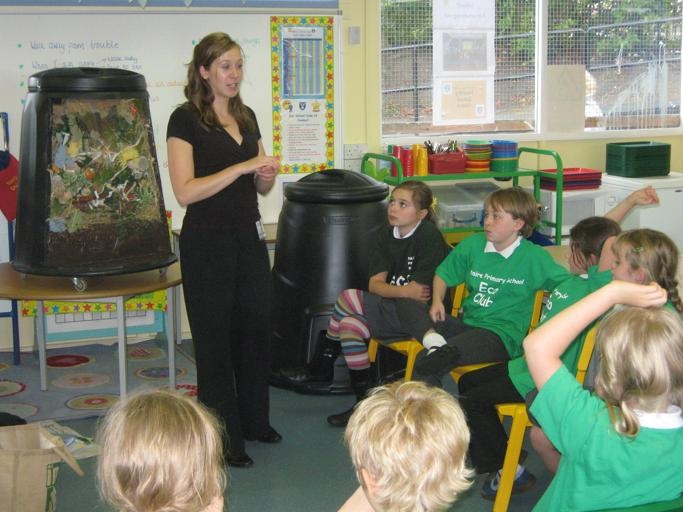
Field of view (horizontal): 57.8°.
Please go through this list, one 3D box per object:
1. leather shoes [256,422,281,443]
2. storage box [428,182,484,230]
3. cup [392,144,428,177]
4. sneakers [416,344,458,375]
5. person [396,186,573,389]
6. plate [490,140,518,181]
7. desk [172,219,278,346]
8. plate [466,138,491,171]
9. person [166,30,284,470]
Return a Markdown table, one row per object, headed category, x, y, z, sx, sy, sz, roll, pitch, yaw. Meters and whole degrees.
| category | x | y | z | sx | sy | sz | roll | pitch | yaw |
| --- | --- | --- | --- | --- | --- | --- | --- | --- | --- |
| leather shoes | -0.337 | 0.846 | 2.969 | 0.075 | 0.105 | 0.119 | 13 | 18 | 43 |
| storage box | 0.807 | -0.353 | 4.437 | 0.383 | 0.203 | 0.357 | -5 | 17 | -16 |
| cup | 0.470 | -0.644 | 4.213 | 0.249 | 0.214 | 0.226 | -2 | 11 | 3 |
| sneakers | 0.397 | 0.430 | 2.626 | 0.186 | 0.095 | 0.076 | -31 | 27 | 20 |
| person | 0.605 | 0.102 | 2.715 | 0.836 | 0.734 | 0.564 | -2 | 9 | -31 |
| plate | 1.136 | -0.670 | 4.316 | 0.201 | 0.246 | 0.111 | -3 | 11 | -1 |
| desk | -0.659 | 0.202 | 3.901 | 0.843 | 0.723 | 0.594 | 1 | -1 | -15 |
| plate | 0.948 | -0.685 | 4.317 | 0.195 | 0.207 | 0.122 | -3 | 11 | -3 |
| person | -0.473 | 0.005 | 2.661 | 0.430 | 1.832 | 0.331 | -6 | 12 | -14 |
